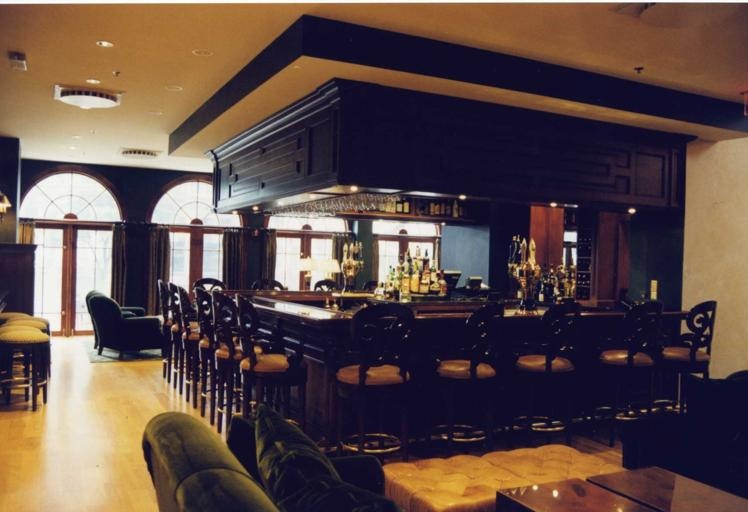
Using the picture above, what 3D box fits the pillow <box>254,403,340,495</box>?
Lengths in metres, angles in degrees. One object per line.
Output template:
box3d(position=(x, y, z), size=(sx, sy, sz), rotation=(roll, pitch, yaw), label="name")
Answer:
box3d(position=(-0.536, 1.167, 3.776), size=(0.461, 0.243, 0.799), rotation=(-1, 12, -26), label="pillow")

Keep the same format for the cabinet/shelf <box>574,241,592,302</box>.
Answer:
box3d(position=(3.371, 0.242, 9.802), size=(0.232, 0.966, 0.135), rotation=(2, 1, 28), label="cabinet/shelf")

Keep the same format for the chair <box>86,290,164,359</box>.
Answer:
box3d(position=(-4.392, 1.187, 10.581), size=(1.095, 0.903, 1.131), rotation=(2, -2, -39), label="chair")
